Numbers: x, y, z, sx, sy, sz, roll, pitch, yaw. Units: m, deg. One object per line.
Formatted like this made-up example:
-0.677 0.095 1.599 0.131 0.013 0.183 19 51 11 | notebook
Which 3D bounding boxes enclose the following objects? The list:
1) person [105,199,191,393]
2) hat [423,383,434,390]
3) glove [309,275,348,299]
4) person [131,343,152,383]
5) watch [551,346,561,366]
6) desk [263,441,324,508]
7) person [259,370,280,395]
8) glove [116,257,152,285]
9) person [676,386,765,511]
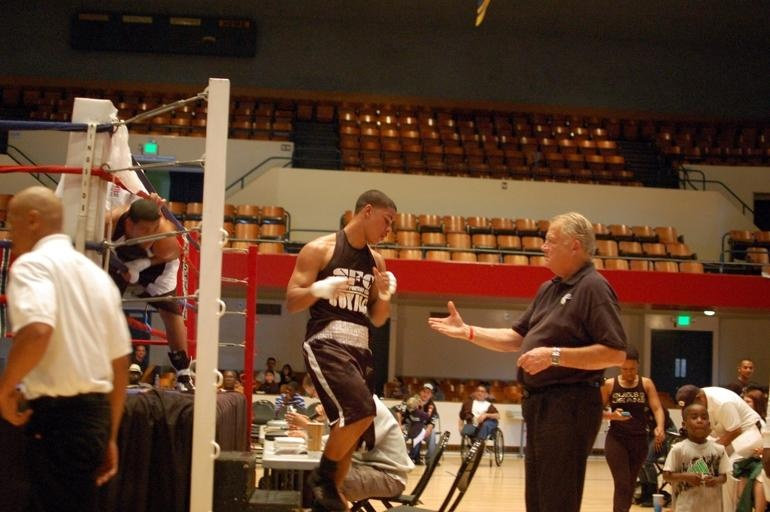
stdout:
-2.057 0.273 6.390 0.824 1.766 0.656 -4 30 -30 | person
0.729 2.216 12.851 0.167 0.051 0.177 5 -9 21 | hat
-0.419 0.230 5.567 0.240 0.138 0.104 -22 -6 8 | glove
-4.364 2.024 13.501 0.326 0.904 0.318 2 9 -18 | person
1.159 0.682 5.139 0.072 0.098 0.107 1 -3 3 | watch
-0.743 1.779 6.209 0.825 0.517 0.437 2 -9 -6 | desk
-2.111 2.286 13.859 0.341 0.398 0.787 3 -9 -9 | person
-2.071 0.108 6.208 0.083 0.196 0.204 24 -2 34 | glove
3.049 1.793 6.906 0.628 0.965 0.501 -5 -47 10 | person
